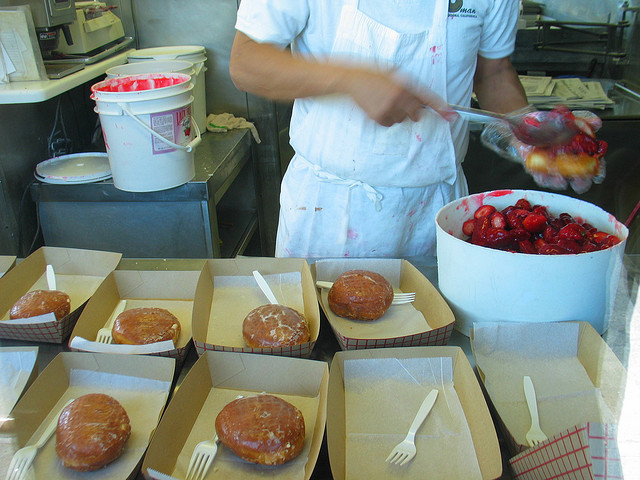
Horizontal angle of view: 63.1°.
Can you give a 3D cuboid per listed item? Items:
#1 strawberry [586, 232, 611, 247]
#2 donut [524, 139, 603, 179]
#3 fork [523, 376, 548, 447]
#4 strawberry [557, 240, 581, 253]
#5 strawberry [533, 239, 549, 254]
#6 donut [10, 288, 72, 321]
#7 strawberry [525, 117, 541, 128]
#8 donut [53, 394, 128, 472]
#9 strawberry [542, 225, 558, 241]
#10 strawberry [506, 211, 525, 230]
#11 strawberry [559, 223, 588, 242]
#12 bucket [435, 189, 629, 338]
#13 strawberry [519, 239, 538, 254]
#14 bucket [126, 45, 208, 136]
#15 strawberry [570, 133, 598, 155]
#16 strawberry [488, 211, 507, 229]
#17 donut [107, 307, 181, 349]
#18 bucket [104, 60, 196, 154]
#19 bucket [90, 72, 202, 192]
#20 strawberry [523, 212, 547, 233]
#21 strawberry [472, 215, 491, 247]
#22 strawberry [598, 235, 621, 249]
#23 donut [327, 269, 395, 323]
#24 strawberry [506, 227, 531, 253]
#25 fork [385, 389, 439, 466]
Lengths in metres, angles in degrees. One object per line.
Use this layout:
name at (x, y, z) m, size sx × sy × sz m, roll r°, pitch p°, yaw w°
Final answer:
strawberry at (0.618, -0.006, 1.150) m, size 0.039 × 0.015 × 0.030 m, roll -26°, pitch 43°, yaw -17°
donut at (0.560, -0.187, 1.194) m, size 0.156 × 0.085 × 0.070 m, roll 17°, pitch 34°, yaw 19°
fork at (0.414, 0.330, 1.014) m, size 0.030 × 0.023 × 0.165 m, roll 1°, pitch 36°, yaw 11°
strawberry at (0.537, 0.013, 1.124) m, size 0.045 × 0.012 × 0.036 m, roll 6°, pitch 33°, yaw 3°
strawberry at (0.493, 0.015, 1.161) m, size 0.026 × 0.029 × 0.028 m, roll 5°, pitch 4°, yaw 29°
donut at (-0.657, 0.122, 1.223) m, size 0.115 × 0.077 × 0.089 m, roll -3°, pitch 20°, yaw -33°
strawberry at (0.496, -0.273, 1.212) m, size 0.021 × 0.007 × 0.023 m, roll -4°, pitch 49°, yaw 18°
donut at (-0.424, 0.353, 0.970) m, size 0.121 × 0.044 × 0.135 m, roll -13°, pitch 37°, yaw -24°
strawberry at (0.517, -0.018, 1.184) m, size 0.023 × 0.015 × 0.035 m, roll 18°, pitch 65°, yaw 23°
strawberry at (0.449, -0.042, 1.209) m, size 0.027 × 0.015 × 0.039 m, roll 3°, pitch 43°, yaw 1°
strawberry at (0.561, -0.017, 1.154) m, size 0.038 × 0.023 × 0.055 m, roll 2°, pitch 23°, yaw 0°
bucket at (0.463, 0.047, 1.242) m, size 0.324 × 0.243 × 0.373 m, roll 1°, pitch 21°, yaw 5°
strawberry at (0.459, 0.017, 1.154) m, size 0.028 × 0.008 × 0.030 m, roll -18°, pitch 57°, yaw -26°
bucket at (-0.668, -0.717, 2.532) m, size 0.362 × 0.404 × 0.395 m, roll -1°, pitch 22°, yaw 1°
strawberry at (0.601, -0.217, 1.184) m, size 0.069 × 0.039 × 0.027 m, roll 2°, pitch 31°, yaw -2°
strawberry at (0.416, -0.045, 1.226) m, size 0.017 × 0.036 × 0.035 m, roll 24°, pitch 7°, yaw -32°
donut at (-0.393, 0.192, 1.168) m, size 0.092 × 0.031 × 0.100 m, roll 7°, pitch 29°, yaw -10°
bucket at (-0.671, -0.560, 2.296) m, size 0.367 × 0.413 × 0.401 m, roll 0°, pitch 17°, yaw 0°
bucket at (-0.624, -0.419, 1.934) m, size 0.376 × 0.383 × 0.389 m, roll 2°, pitch 31°, yaw -1°
strawberry at (0.487, -0.040, 1.190) m, size 0.045 × 0.040 × 0.035 m, roll 12°, pitch -17°, yaw -10°
strawberry at (0.375, -0.019, 1.218) m, size 0.017 × 0.068 × 0.047 m, roll 16°, pitch -18°, yaw -33°
strawberry at (0.630, 0.001, 1.137) m, size 0.032 × 0.029 × 0.031 m, roll -38°, pitch 23°, yaw -15°
donut at (0.103, 0.131, 1.280) m, size 0.162 × 0.089 × 0.171 m, roll 5°, pitch 34°, yaw 12°
strawberry at (0.452, -0.001, 1.176) m, size 0.045 × 0.055 × 0.019 m, roll 5°, pitch 3°, yaw -10°
fork at (0.185, 0.357, 1.000) m, size 0.041 × 0.029 × 0.247 m, roll 16°, pitch 37°, yaw 23°
